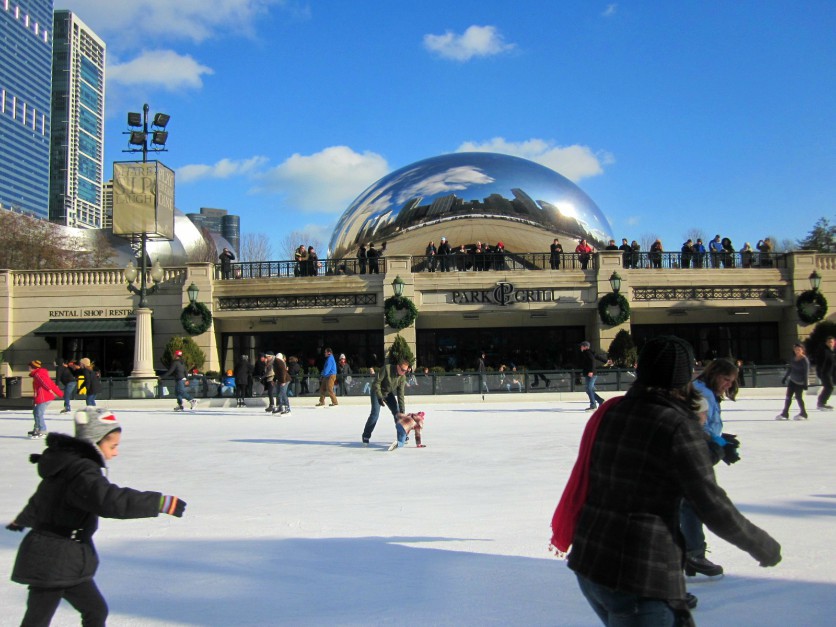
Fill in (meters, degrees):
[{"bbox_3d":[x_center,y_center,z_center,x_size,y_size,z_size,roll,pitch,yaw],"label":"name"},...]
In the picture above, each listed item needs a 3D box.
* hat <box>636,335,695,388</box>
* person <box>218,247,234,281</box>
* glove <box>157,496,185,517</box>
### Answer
[{"bbox_3d":[2.676,0.547,12.453,0.453,0.358,0.645,5,24,16],"label":"hat"},{"bbox_3d":[-7.397,-1.886,44.977,0.472,1.299,1.620,-1,-2,-9],"label":"person"},{"bbox_3d":[-2.794,2.211,13.285,0.284,0.268,0.350,-1,-2,-3],"label":"glove"}]
